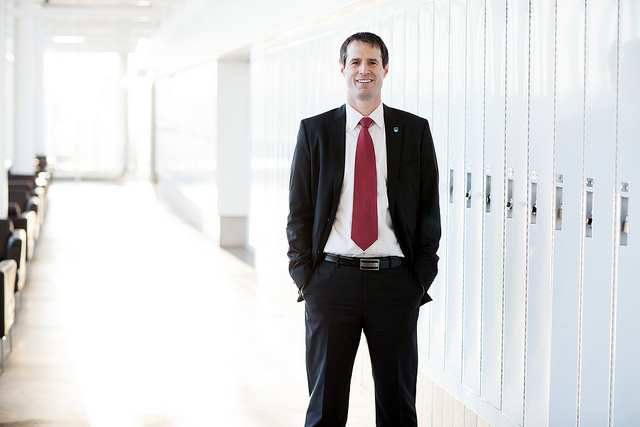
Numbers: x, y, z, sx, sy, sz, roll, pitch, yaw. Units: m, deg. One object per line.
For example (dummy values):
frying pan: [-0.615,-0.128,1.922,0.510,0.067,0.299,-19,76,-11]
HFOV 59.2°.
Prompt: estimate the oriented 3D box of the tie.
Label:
tie: [0.239,-0.165,2.993,0.135,0.682,0.189,1,7,6]

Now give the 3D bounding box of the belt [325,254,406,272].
belt: [0.225,0.258,3.005,0.427,0.073,0.075,2,8,3]
